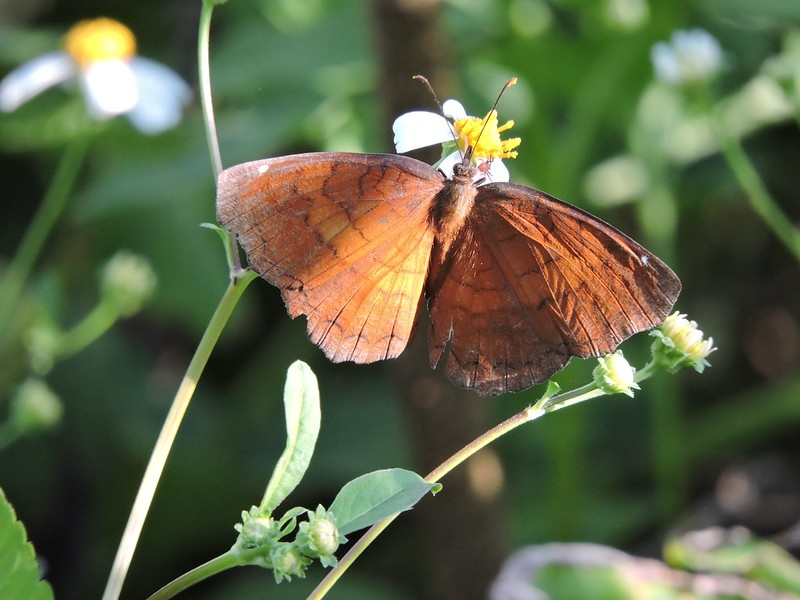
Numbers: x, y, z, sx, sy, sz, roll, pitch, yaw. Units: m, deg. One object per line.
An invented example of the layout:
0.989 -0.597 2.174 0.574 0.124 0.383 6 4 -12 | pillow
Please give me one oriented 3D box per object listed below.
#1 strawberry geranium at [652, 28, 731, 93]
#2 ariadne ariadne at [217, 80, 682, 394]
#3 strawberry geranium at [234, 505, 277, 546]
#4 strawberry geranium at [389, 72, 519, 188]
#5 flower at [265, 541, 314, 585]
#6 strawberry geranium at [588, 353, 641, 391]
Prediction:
0.824 -0.696 2.371 0.200 0.114 0.141 5 46 23 | strawberry geranium
0.109 -0.145 1.588 0.766 0.529 0.435 -9 42 9 | ariadne ariadne
-0.237 0.379 1.364 0.067 0.026 0.072 -1 74 -8 | strawberry geranium
0.113 -0.406 1.787 0.214 0.265 0.247 -3 21 -3 | strawberry geranium
-0.180 0.441 1.363 0.060 0.070 0.024 -20 6 -14 | flower
0.393 0.141 1.513 0.077 0.073 0.097 3 45 20 | strawberry geranium
